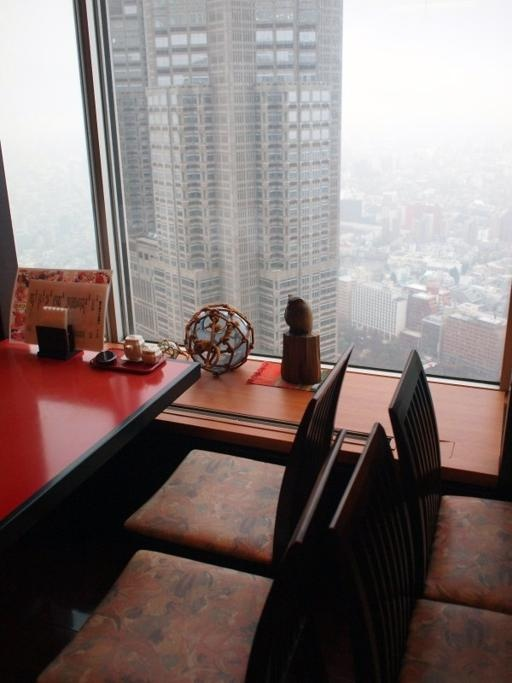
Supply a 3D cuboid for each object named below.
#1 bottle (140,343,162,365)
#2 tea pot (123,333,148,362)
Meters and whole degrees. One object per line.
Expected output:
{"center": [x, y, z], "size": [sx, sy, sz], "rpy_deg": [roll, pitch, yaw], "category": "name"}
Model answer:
{"center": [-0.328, 0.033, 1.684], "size": [0.061, 0.060, 0.063], "rpy_deg": [4, 18, 16], "category": "bottle"}
{"center": [-0.384, 0.017, 1.652], "size": [0.078, 0.108, 0.077], "rpy_deg": [0, 6, 0], "category": "tea pot"}
